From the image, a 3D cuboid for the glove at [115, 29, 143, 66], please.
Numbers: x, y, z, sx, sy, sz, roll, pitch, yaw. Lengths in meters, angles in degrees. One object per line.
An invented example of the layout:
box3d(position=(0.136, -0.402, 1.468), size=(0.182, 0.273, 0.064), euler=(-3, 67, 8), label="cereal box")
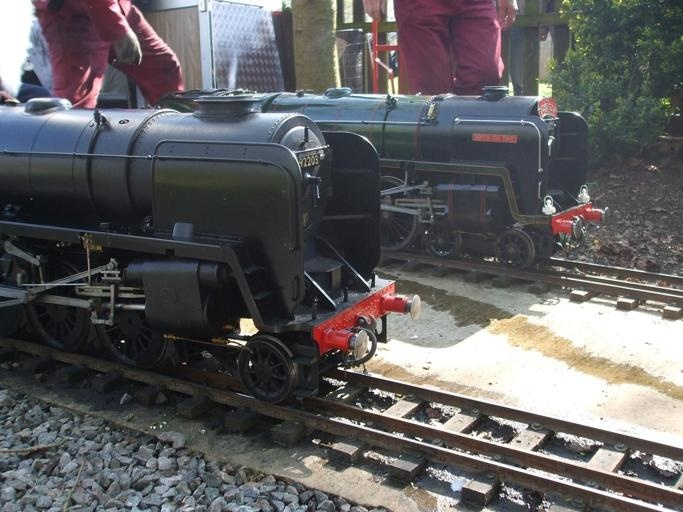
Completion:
box3d(position=(-2.744, -2.618, 6.918), size=(0.197, 0.508, 0.369), euler=(29, 26, 19), label="glove")
